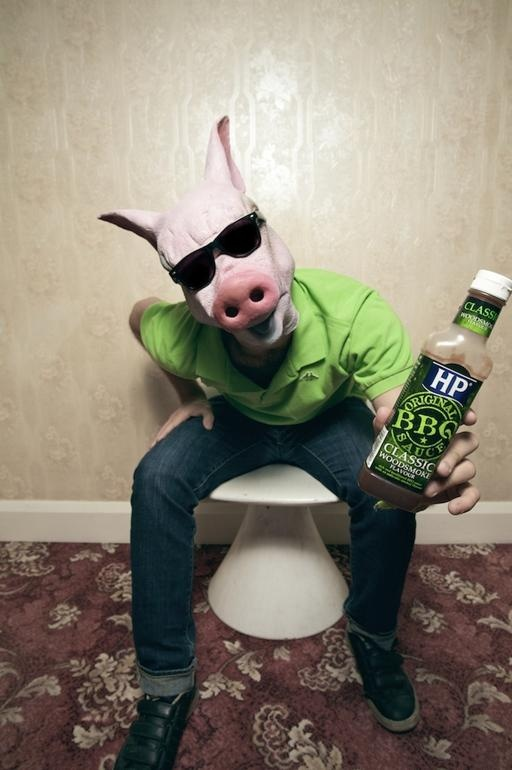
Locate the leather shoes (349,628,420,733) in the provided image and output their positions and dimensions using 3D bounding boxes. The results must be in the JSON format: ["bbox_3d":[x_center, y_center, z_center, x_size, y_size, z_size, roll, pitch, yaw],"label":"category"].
[{"bbox_3d":[0.234,0.558,1.273,0.064,0.066,0.176,-8,21,-10],"label":"leather shoes"}]

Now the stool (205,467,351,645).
[{"bbox_3d":[0.055,0.392,1.567,0.358,0.266,0.321,1,-3,-10],"label":"stool"}]
